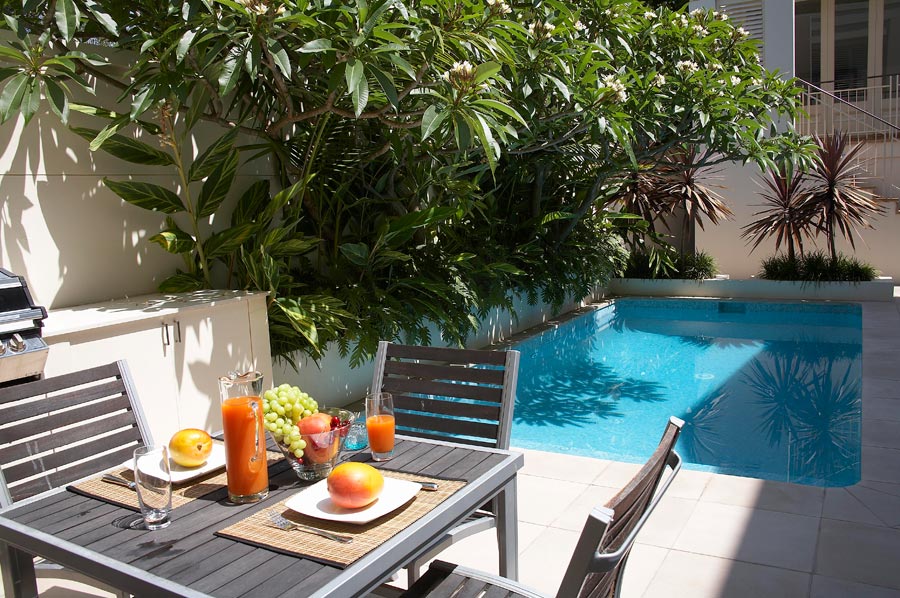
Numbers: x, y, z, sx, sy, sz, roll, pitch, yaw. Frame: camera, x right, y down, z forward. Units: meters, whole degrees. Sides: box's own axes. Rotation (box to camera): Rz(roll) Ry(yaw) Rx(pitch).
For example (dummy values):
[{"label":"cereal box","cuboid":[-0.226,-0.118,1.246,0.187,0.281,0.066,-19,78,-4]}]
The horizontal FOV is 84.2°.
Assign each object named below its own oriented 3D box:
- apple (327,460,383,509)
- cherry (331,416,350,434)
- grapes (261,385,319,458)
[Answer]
[{"label":"apple","cuboid":[-0.226,0.450,1.205,0.131,0.105,0.055,-5,13,-11]},{"label":"cherry","cuboid":[-0.297,0.341,1.363,0.039,0.024,0.045,-1,10,1]},{"label":"grapes","cuboid":[-0.452,0.301,1.398,0.182,0.224,0.113,-14,15,-33]}]
